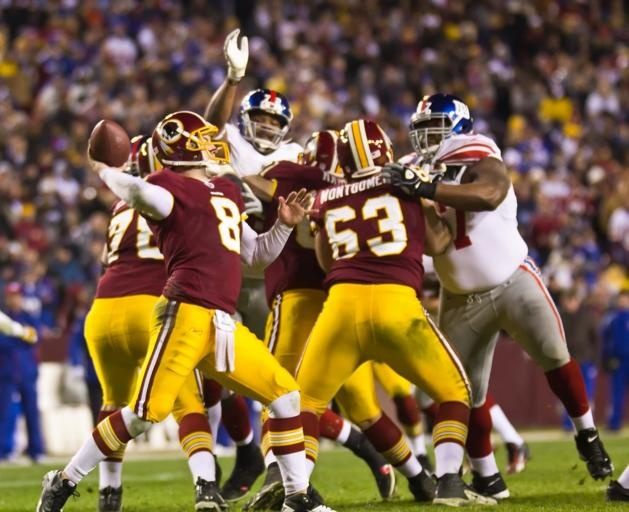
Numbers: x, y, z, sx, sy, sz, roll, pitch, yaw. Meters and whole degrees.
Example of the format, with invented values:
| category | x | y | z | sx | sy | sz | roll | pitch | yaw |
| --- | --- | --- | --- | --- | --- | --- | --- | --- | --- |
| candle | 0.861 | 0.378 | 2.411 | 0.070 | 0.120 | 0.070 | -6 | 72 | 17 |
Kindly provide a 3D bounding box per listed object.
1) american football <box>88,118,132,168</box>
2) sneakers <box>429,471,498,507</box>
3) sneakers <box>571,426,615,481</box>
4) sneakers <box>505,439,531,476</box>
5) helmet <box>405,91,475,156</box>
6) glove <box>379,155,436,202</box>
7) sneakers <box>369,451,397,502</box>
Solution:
| category | x | y | z | sx | sy | sz | roll | pitch | yaw |
| --- | --- | --- | --- | --- | --- | --- | --- | --- | --- |
| american football | -1.322 | -0.713 | 6.187 | 0.211 | 0.352 | 0.210 | 2 | 1 | 20 |
| sneakers | 0.977 | 1.478 | 6.072 | 0.482 | 0.237 | 0.166 | 2 | -8 | -23 |
| sneakers | 1.819 | 1.309 | 6.220 | 0.189 | 0.383 | 0.146 | -24 | -23 | 13 |
| sneakers | 1.756 | 1.743 | 8.275 | 0.193 | 0.287 | 0.409 | 2 | 3 | 17 |
| helmet | 0.813 | -0.879 | 6.559 | 0.440 | 0.427 | 0.329 | 0 | -6 | -35 |
| glove | 0.576 | -0.476 | 5.896 | 0.303 | 0.101 | 0.197 | 22 | 3 | 31 |
| sneakers | 0.484 | 1.556 | 6.851 | 0.143 | 0.388 | 0.131 | 12 | -47 | -22 |
